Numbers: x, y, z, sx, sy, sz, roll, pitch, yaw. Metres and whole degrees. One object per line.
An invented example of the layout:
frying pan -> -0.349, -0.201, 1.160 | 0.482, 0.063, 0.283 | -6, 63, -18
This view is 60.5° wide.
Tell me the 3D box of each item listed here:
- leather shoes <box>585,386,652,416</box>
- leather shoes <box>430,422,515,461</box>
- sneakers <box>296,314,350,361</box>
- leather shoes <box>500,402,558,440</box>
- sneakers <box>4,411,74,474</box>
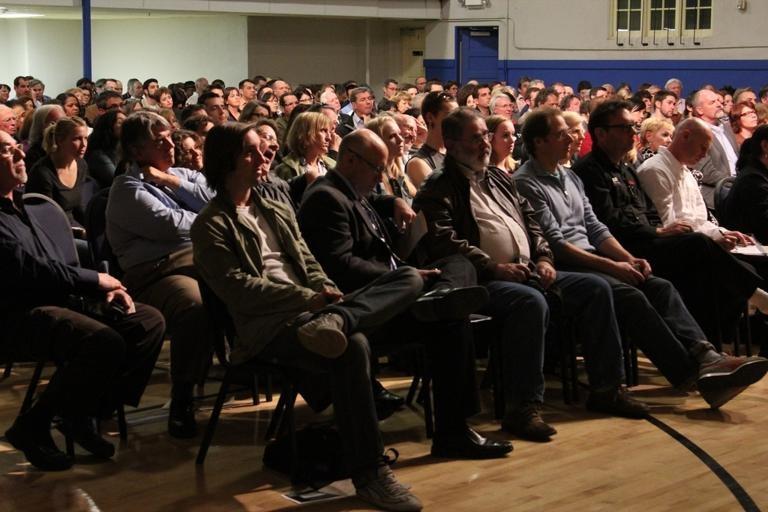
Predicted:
leather shoes -> 1.402, 0.856, 3.913 | 0.336, 0.160, 0.142 | -1, 5, 21
leather shoes -> 0.443, 0.975, 3.424 | 0.474, 0.191, 0.162 | -2, 0, 1
sneakers -> -0.257, 0.362, 2.866 | 0.209, 0.217, 0.165 | 1, 12, 2
leather shoes -> 0.788, 0.918, 3.669 | 0.343, 0.250, 0.128 | 0, 0, 28
sneakers -> -1.634, 0.887, 3.133 | 0.267, 0.288, 0.156 | -6, 13, -30
